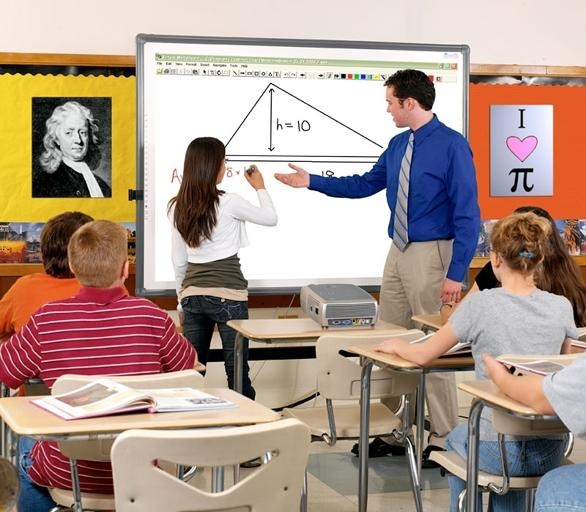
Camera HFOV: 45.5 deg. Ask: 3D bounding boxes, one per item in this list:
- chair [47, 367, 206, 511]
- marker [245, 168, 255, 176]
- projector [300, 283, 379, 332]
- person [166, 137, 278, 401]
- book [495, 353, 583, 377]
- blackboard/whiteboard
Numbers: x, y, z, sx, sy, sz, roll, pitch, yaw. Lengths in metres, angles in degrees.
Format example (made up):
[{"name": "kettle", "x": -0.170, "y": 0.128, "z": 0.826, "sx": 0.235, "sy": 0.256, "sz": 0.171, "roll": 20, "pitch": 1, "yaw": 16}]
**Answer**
[{"name": "chair", "x": -0.474, "y": 0.469, "z": 2.066, "sx": 0.382, "sy": 0.527, "sz": 0.399, "roll": 0, "pitch": 7, "yaw": -14}, {"name": "marker", "x": -0.225, "y": -0.456, "z": 3.706, "sx": 0.047, "sy": 0.050, "sz": 0.030, "roll": 3, "pitch": -17, "yaw": 31}, {"name": "projector", "x": 0.201, "y": 0.214, "z": 3.041, "sx": 0.270, "sy": 0.172, "sz": 0.251, "roll": -1, "pitch": 3, "yaw": -16}, {"name": "person", "x": -0.323, "y": 0.155, "z": 3.487, "sx": 0.532, "sy": 1.453, "sz": 0.367, "roll": 2, "pitch": 17, "yaw": 9}, {"name": "book", "x": 0.681, "y": 0.284, "z": 1.889, "sx": 0.196, "sy": 0.034, "sz": 0.108, "roll": -2, "pitch": 7, "yaw": -13}, {"name": "blackboard/whiteboard", "x": -0.006, "y": -0.505, "z": 3.754, "sx": 1.506, "sy": 1.108, "sz": 0.058, "roll": -1, "pitch": 1, "yaw": -13}]
